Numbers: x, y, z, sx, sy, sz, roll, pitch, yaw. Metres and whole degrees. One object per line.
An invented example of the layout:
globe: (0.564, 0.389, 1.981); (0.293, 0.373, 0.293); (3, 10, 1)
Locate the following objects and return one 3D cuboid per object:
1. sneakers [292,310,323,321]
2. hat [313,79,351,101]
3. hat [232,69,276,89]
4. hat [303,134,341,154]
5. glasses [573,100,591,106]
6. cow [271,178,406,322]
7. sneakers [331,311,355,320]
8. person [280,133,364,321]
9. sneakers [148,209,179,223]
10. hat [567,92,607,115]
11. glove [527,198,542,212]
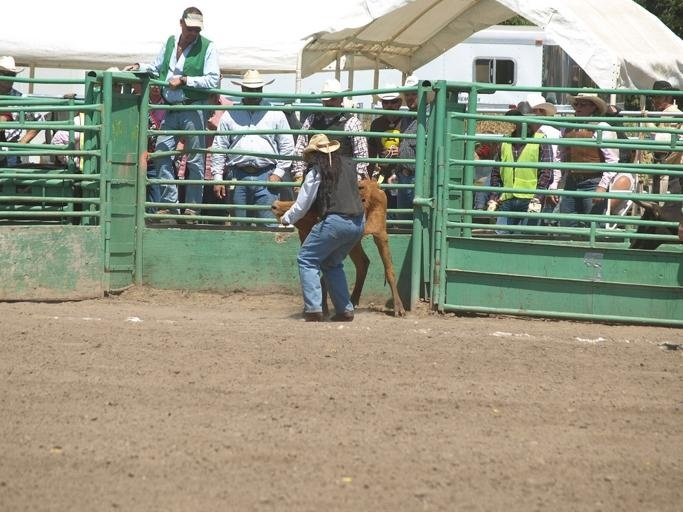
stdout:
sneakers: (-0.303, 0.645, 8.845); (0.197, 0.108, 0.093); (-2, -1, 2)
hat: (-0.152, -2.064, 10.299); (0.387, 0.184, 0.495); (-2, 1, 6)
hat: (-1.157, -2.270, 10.720); (0.320, 0.230, 0.420); (0, 13, -7)
hat: (-0.192, -1.185, 8.836); (0.400, 0.164, 0.447); (-7, -7, 1)
glasses: (3.176, -2.046, 11.029); (0.134, 0.060, 0.253); (-2, 13, -17)
cow: (-0.205, -0.284, 9.087); (1.218, 1.913, 1.070); (2, 0, 11)
sneakers: (0.033, 0.642, 8.916); (0.263, 0.146, 0.082); (4, 22, 7)
person: (-0.189, -0.276, 8.743); (0.848, 1.961, 0.402); (2, 15, -1)
sneakers: (-2.256, -0.499, 10.525); (0.452, 0.116, 0.252); (-1, -1, -11)
hat: (3.359, -2.056, 11.247); (0.502, 0.273, 0.703); (6, 13, 16)
glove: (2.361, -0.613, 10.127); (0.162, 0.181, 0.195); (1, -29, 19)
